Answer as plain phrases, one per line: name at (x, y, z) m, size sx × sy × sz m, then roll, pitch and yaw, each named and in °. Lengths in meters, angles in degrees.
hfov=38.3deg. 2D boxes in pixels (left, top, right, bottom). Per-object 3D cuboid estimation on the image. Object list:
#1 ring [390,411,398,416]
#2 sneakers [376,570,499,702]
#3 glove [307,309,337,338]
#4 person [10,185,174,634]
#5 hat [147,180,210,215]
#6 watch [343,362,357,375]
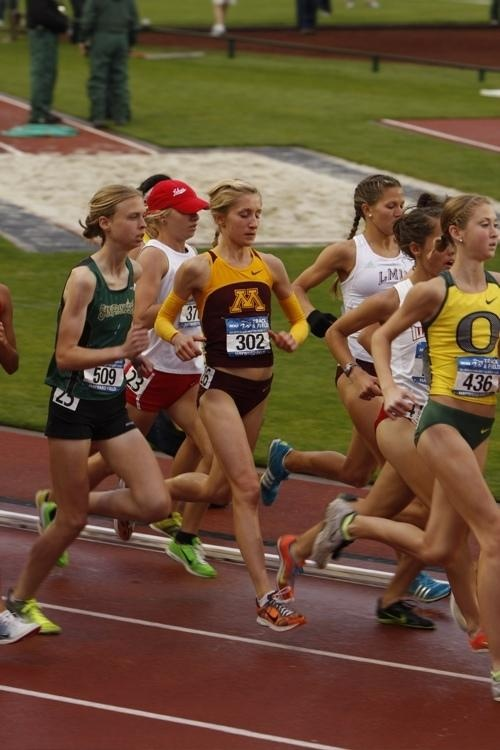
ring at (0.442, 0.120, 2.260) m, size 0.018 × 0.016 × 0.004 m, roll -1°, pitch 30°, yaw 26°
sneakers at (0.724, 0.970, 2.748) m, size 0.510 × 0.179 × 0.172 m, roll 20°, pitch 21°, yaw 22°
glove at (0.365, -0.273, 3.752) m, size 0.173 × 0.127 × 0.063 m, roll 42°, pitch 11°, yaw 0°
person at (-0.581, 0.136, 2.658) m, size 0.569 × 1.288 × 0.598 m, roll 3°, pitch 1°, yaw 2°
hat at (-0.361, -0.856, 3.480) m, size 0.309 × 0.129 × 0.186 m, roll -1°, pitch 17°, yaw 12°
watch at (0.417, -0.032, 3.073) m, size 0.046 × 0.052 × 0.042 m, roll 17°, pitch 12°, yaw 32°
